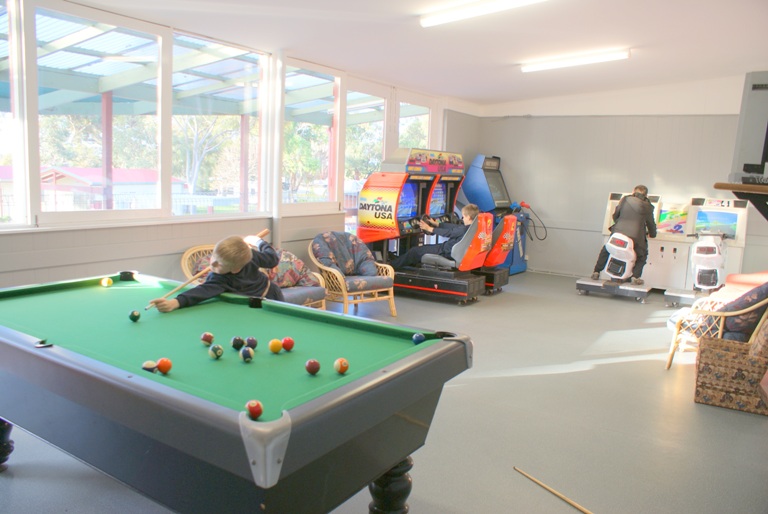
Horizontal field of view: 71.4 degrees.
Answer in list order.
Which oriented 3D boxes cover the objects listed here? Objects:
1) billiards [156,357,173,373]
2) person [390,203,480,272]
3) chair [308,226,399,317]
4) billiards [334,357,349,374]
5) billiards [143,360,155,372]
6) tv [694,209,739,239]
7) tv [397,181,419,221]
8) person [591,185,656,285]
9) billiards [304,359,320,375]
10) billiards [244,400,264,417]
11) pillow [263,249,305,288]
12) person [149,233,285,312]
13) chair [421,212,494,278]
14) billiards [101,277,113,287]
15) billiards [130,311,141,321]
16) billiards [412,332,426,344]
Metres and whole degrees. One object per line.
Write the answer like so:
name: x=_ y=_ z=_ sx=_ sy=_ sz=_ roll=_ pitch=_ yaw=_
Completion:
billiards: x=-1.262 y=0.621 z=3.108 sx=0.082 sy=0.097 sz=0.086 roll=14 pitch=7 yaw=38
person: x=0.824 y=-0.277 z=8.218 sx=1.546 sy=1.024 sz=0.716 roll=-1 pitch=7 yaw=21
chair: x=-0.308 y=0.183 z=7.213 sx=1.233 sy=1.109 sz=0.740 roll=0 pitch=1 yaw=45
billiards: x=-0.244 y=0.642 z=3.148 sx=0.076 sy=0.091 sz=0.087 roll=0 pitch=-27 yaw=7
billiards: x=-1.344 y=0.620 z=3.063 sx=0.058 sy=0.045 sz=0.058 roll=-4 pitch=8 yaw=-30
tv: x=5.199 y=-0.510 z=8.306 sx=0.436 sy=0.381 sz=0.061 roll=6 pitch=-5 yaw=21
tv: x=0.380 y=-0.890 z=8.518 sx=0.008 sy=0.550 sz=0.551 roll=14 pitch=18 yaw=38
person: x=4.070 y=-0.426 z=8.995 sx=0.962 sy=1.654 sz=0.880 roll=7 pitch=9 yaw=32
billiards: x=-0.423 y=0.640 z=3.100 sx=0.068 sy=0.052 sz=0.079 roll=6 pitch=15 yaw=16
billiards: x=-0.654 y=0.766 z=2.680 sx=0.079 sy=0.083 sz=0.081 roll=-7 pitch=8 yaw=-26
pillow: x=-1.147 y=0.144 z=6.554 sx=0.473 sy=0.527 sz=0.198 roll=-18 pitch=-44 yaw=22
person: x=-1.261 y=0.140 z=4.447 sx=0.807 sy=0.598 sz=1.029 roll=4 pitch=9 yaw=-3
chair: x=1.059 y=-0.161 z=7.833 sx=0.796 sy=0.924 sz=0.882 roll=7 pitch=9 yaw=25
billiards: x=-2.333 y=0.207 z=4.505 sx=0.086 sy=0.087 sz=0.082 roll=-6 pitch=11 yaw=8
billiards: x=-1.743 y=0.417 z=3.781 sx=0.063 sy=0.073 sz=0.068 roll=3 pitch=-18 yaw=11
billiards: x=0.225 y=0.531 z=3.475 sx=0.064 sy=0.048 sz=0.065 roll=2 pitch=3 yaw=7
